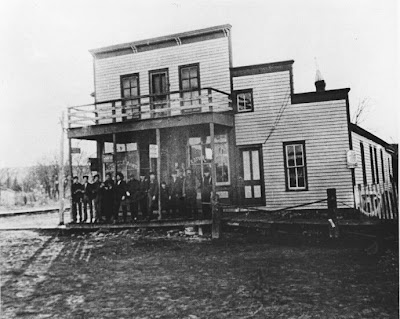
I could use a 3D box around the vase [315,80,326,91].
[{"bbox_3d":[4.834,-2.986,18.312,0.393,0.401,0.334,-2,-5,11],"label":"vase"}]
